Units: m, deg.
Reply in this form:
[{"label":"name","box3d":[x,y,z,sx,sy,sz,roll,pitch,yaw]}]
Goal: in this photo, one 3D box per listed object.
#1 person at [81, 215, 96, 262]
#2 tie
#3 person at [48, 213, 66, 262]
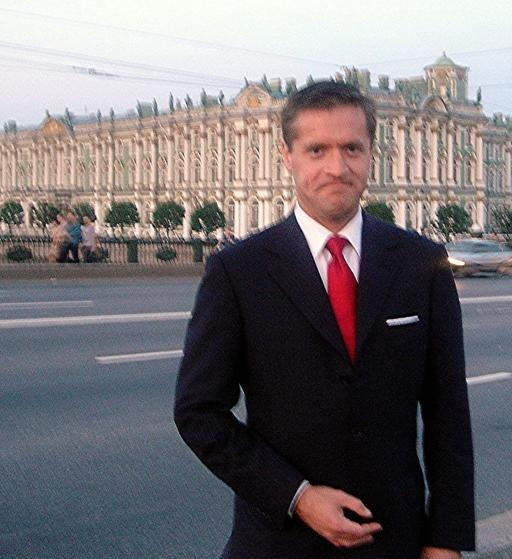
[{"label":"person","box3d":[-6.014,-1.461,23.178,0.540,1.647,1.710,0,4,-15]},{"label":"tie","box3d":[0.207,0.048,1.537,0.051,0.311,0.036,-2,-31,-1]},{"label":"person","box3d":[-7.045,-1.471,22.744,0.591,1.654,2.695,0,4,-18]}]
